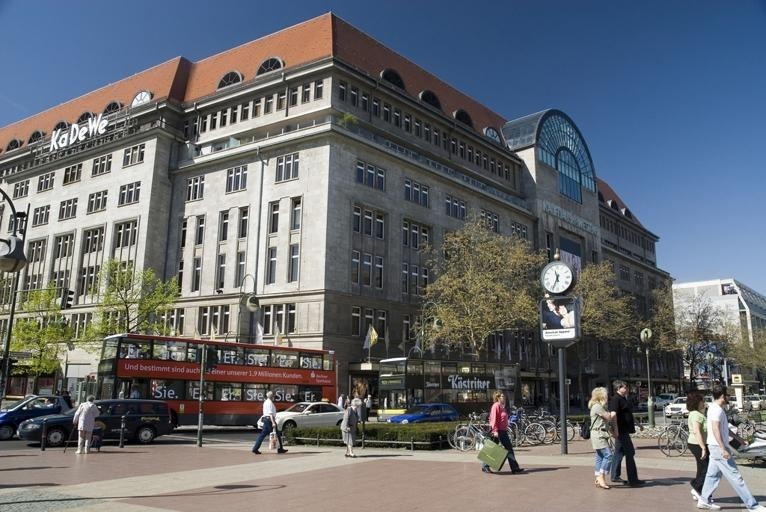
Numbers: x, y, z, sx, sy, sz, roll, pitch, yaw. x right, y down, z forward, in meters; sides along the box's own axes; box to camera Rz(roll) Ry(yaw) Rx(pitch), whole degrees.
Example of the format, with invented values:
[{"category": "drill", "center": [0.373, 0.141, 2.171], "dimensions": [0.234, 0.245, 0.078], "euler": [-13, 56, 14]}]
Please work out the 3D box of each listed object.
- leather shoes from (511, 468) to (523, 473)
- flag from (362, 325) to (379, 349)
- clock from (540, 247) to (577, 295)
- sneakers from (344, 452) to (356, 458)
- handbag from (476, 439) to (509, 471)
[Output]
[{"category": "leather shoes", "center": [5.210, 8.184, 24.068], "dimensions": [0.251, 0.176, 0.630], "euler": [-15, -21, 40]}, {"category": "flag", "center": [-1.112, 7.067, 54.892], "dimensions": [1.466, 3.276, 0.496], "euler": [15, -34, -18]}, {"category": "clock", "center": [8.046, 0.953, 28.766], "dimensions": [0.707, 1.449, 1.359], "euler": [14, -22, -42]}, {"category": "sneakers", "center": [-1.428, 8.762, 27.823], "dimensions": [0.515, 0.178, 0.186], "euler": [-6, -15, 19]}, {"category": "handbag", "center": [4.272, 7.632, 24.116], "dimensions": [1.396, 1.321, 0.525], "euler": [-18, -21, 41]}]
